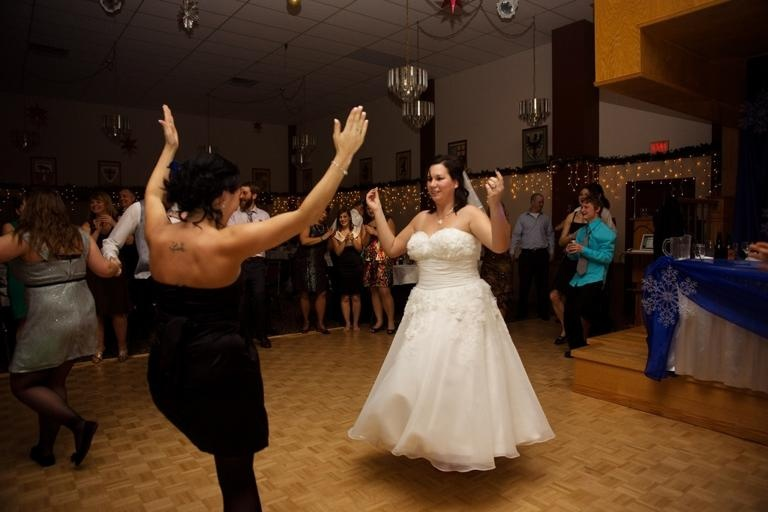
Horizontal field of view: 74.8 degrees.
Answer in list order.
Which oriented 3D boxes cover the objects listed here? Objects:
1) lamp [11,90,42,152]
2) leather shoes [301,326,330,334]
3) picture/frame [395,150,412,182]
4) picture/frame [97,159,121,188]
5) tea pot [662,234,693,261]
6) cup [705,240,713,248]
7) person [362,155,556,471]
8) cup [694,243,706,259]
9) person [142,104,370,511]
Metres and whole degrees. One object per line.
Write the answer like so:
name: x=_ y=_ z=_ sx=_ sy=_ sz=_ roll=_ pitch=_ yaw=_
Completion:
lamp: x=-8.125 y=-3.029 z=11.434 sx=0.569 sy=1.223 sz=0.287 roll=3 pitch=10 yaw=-37
leather shoes: x=-1.003 y=1.118 z=7.579 sx=0.528 sy=0.111 sz=0.159 roll=-2 pitch=-4 yaw=9
picture/frame: x=0.453 y=-2.091 z=11.676 sx=0.067 sy=1.044 sz=0.681 roll=2 pitch=-2 yaw=-34
picture/frame: x=-6.830 y=-2.026 z=12.360 sx=0.624 sy=0.862 sz=0.075 roll=2 pitch=0 yaw=-35
tea pot: x=2.905 y=-0.094 z=4.962 sx=0.244 sy=0.267 sz=0.647 roll=6 pitch=14 yaw=31
cup: x=3.170 y=-0.115 z=4.904 sx=0.064 sy=0.088 sz=0.067 roll=1 pitch=-7 yaw=0
person: x=0.431 y=0.404 z=3.852 sx=1.073 sy=2.226 sz=0.893 roll=-1 pitch=11 yaw=-3
cup: x=3.102 y=-0.052 z=4.926 sx=0.118 sy=0.163 sz=0.131 roll=0 pitch=0 yaw=11
person: x=-0.985 y=0.444 z=3.011 sx=1.169 sy=2.047 sz=0.541 roll=6 pitch=12 yaw=29
